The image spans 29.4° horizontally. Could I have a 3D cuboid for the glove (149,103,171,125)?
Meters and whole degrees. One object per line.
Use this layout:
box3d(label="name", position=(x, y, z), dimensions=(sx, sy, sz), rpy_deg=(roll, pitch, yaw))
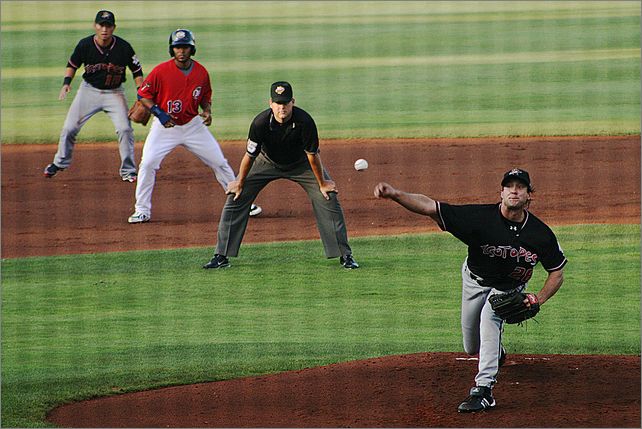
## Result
box3d(label="glove", position=(-2.643, -1.663, 20.058), dimensions=(0.358, 0.092, 0.264), rpy_deg=(36, 6, -16))

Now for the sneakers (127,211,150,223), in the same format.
box3d(label="sneakers", position=(-3.143, 0.024, 20.790), dimensions=(0.446, 0.124, 0.166), rpy_deg=(-1, -28, -5))

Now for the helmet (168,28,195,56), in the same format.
box3d(label="helmet", position=(-2.257, -2.780, 19.819), dimensions=(0.451, 0.339, 0.458), rpy_deg=(-6, -10, 12))

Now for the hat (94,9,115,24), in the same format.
box3d(label="hat", position=(-3.750, -3.470, 21.096), dimensions=(0.381, 0.207, 0.468), rpy_deg=(3, 4, -9))

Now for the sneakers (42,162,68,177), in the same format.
box3d(label="sneakers", position=(-4.926, -0.832, 22.344), dimensions=(0.239, 0.237, 0.557), rpy_deg=(1, 10, -1))

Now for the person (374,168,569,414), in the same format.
box3d(label="person", position=(2.319, 0.980, 16.882), dimensions=(1.775, 3.203, 1.006), rpy_deg=(-6, 8, -27))

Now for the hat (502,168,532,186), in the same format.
box3d(label="hat", position=(2.684, -0.504, 16.770), dimensions=(0.376, 0.251, 0.245), rpy_deg=(-1, 7, 6))

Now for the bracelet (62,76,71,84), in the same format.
box3d(label="bracelet", position=(-4.484, -2.397, 21.619), dimensions=(0.163, 0.112, 0.503), rpy_deg=(7, 10, -10))
